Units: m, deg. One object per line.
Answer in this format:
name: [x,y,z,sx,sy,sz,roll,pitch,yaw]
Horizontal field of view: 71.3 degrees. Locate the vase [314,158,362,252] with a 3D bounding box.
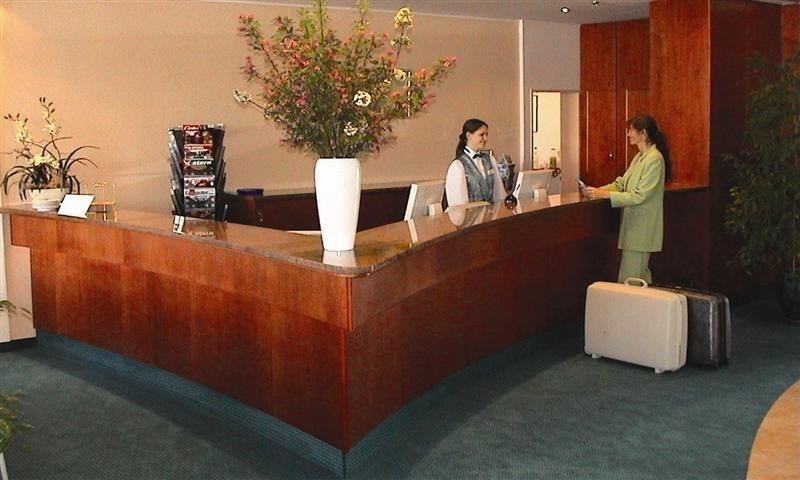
vase: [-0.459,-0.273,4.226,0.330,0.700,0.179,-4,13,-10]

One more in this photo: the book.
book: [-2.608,-0.870,7.233,0.726,1.241,0.594,-7,14,-21]

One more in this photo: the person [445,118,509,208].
person: [0.863,-0.912,6.499,0.515,0.980,0.861,5,14,23]

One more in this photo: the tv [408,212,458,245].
tv: [0.335,-0.109,5.038,0.520,0.125,0.593,21,19,1]

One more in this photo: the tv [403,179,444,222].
tv: [0.305,-0.371,5.559,0.470,0.340,0.208,-8,-1,-36]

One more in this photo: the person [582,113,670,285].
person: [2.743,-0.473,6.572,0.734,1.948,0.563,5,14,25]

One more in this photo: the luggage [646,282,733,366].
luggage: [2.965,0.900,5.746,0.733,0.812,0.270,6,14,30]

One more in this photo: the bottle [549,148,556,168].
bottle: [2.908,-1.554,10.559,0.114,0.294,0.645,2,14,16]

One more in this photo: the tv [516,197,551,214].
tv: [1.446,-0.385,6.019,0.340,0.022,1.100,3,14,15]

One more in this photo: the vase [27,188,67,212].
vase: [-3.890,-0.447,6.139,0.298,0.183,0.303,0,0,16]

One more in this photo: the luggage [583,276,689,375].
luggage: [2.502,0.890,5.965,0.367,0.877,1.082,0,2,-32]
